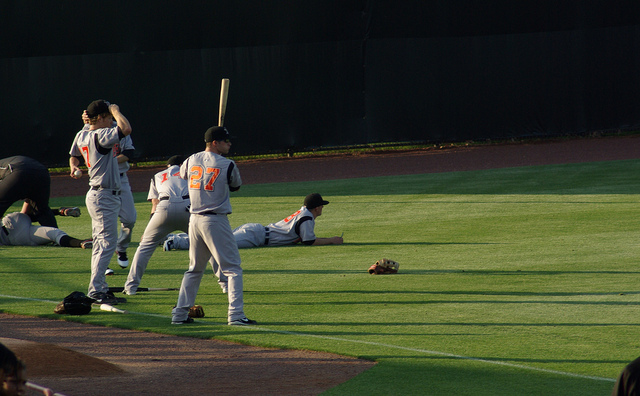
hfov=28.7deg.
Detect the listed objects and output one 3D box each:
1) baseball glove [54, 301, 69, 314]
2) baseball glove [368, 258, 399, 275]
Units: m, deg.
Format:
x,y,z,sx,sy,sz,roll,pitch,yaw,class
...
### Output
x,y,z,sx,sy,sz,roll,pitch,yaw,class
-5.626,2.382,27.498,0.362,0.265,0.125,1,-3,31,baseball glove
1.544,1.577,29.168,0.600,0.217,0.403,-1,10,0,baseball glove
